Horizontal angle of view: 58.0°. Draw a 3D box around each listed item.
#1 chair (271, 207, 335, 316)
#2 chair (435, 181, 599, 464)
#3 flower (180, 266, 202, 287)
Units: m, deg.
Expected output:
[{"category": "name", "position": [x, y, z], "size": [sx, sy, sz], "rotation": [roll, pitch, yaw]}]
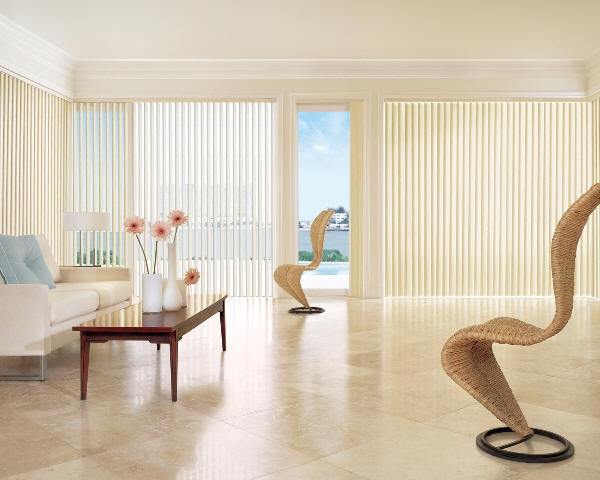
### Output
[{"category": "chair", "position": [0.040, 0.226, 6.773], "size": [0.757, 1.219, 1.312], "rotation": [0, 5, 2]}, {"category": "chair", "position": [1.101, 0.400, 2.725], "size": [0.679, 1.345, 0.495], "rotation": [3, 6, 29]}, {"category": "flower", "position": [-0.867, 0.291, 4.287], "size": [0.176, 0.049, 0.158], "rotation": [4, 15, -2]}]
